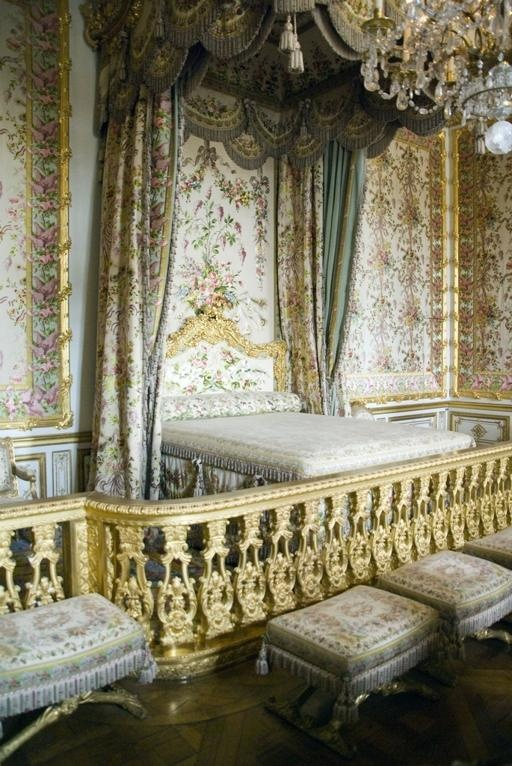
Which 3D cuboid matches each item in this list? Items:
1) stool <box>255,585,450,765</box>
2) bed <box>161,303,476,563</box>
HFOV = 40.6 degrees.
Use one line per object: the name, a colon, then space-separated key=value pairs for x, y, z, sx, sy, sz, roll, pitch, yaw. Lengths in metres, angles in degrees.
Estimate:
stool: x=0.258 y=0.769 z=1.920 sx=0.322 sy=0.344 sz=0.447 roll=14 pitch=15 yaw=42
bed: x=0.168 y=0.173 z=3.930 sx=1.383 sy=1.207 sz=1.885 roll=-3 pitch=4 yaw=-29
